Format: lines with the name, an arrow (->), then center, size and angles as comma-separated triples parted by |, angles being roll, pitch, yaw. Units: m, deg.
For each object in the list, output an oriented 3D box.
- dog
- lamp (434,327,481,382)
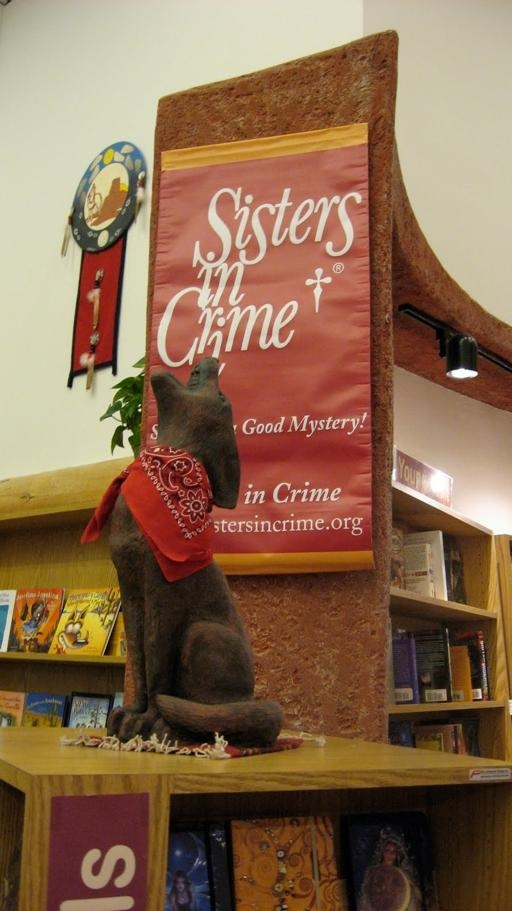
dog -> -0.106, 0.110, 1.000 | 0.274, 0.542, 0.226 | 3, -15, -10
lamp -> 0.700, -0.360, 2.634 | 0.109, 0.209, 0.192 | 3, -10, -11
